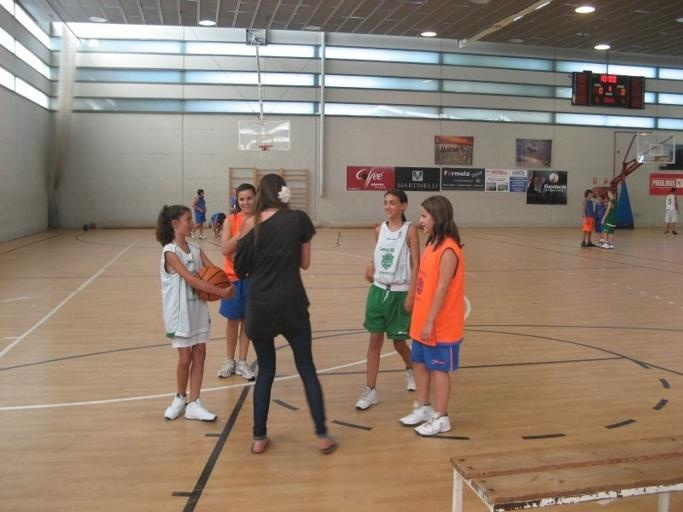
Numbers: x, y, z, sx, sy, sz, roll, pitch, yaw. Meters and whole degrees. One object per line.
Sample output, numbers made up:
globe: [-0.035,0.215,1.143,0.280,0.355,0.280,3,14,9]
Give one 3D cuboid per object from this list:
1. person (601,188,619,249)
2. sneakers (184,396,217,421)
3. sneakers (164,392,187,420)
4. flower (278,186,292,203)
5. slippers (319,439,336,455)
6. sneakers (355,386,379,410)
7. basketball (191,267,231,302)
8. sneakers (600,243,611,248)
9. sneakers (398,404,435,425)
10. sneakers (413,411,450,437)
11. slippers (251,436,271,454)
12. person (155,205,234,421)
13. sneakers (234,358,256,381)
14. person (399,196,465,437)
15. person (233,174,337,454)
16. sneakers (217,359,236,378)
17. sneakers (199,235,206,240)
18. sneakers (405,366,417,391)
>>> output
person: [6.135,-0.868,13.039,0.313,1.299,1.465,4,10,25]
sneakers: [-0.964,1.052,3.913,0.271,0.143,0.104,6,7,19]
sneakers: [-1.139,1.020,3.911,0.083,0.100,0.224,6,12,8]
flower: [-0.365,-0.387,3.518,0.094,0.100,0.075,7,44,10]
slippers: [-0.081,1.159,3.482,0.054,0.063,0.132,3,12,15]
sneakers: [0.186,1.017,4.098,0.079,0.106,0.227,-5,-7,27]
basketball: [-0.858,0.181,3.800,0.233,0.228,0.185,0,9,-2]
sneakers: [5.850,-0.240,12.605,0.217,0.101,0.251,4,10,24]
sneakers: [0.505,1.065,3.854,0.255,0.128,0.097,-5,6,-4]
sneakers: [0.596,1.089,3.722,0.225,0.116,0.122,-2,4,-17]
slippers: [-0.508,1.158,3.491,0.056,0.060,0.143,1,7,3]
person: [-0.994,0.367,3.895,0.480,1.440,0.439,-3,9,-17]
sneakers: [-0.760,0.912,4.597,0.092,0.114,0.234,1,7,-41]
person: [0.613,0.380,3.679,0.330,1.521,0.353,-7,11,-37]
person: [-0.349,0.345,3.504,0.591,1.686,0.398,-2,9,-9]
sneakers: [-0.920,0.905,4.619,0.075,0.095,0.199,-2,-6,17]
sneakers: [-3.528,-0.493,14.538,0.125,0.156,0.349,-1,-2,-33]
sneakers: [0.529,0.941,4.360,0.080,0.090,0.200,-2,4,1]
